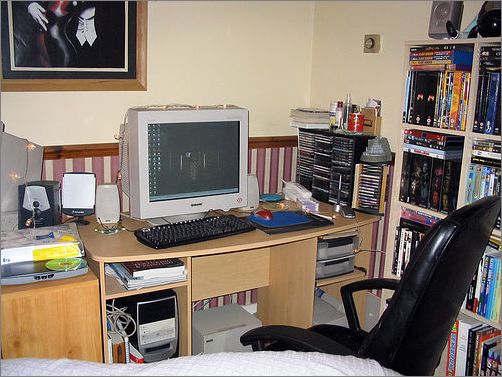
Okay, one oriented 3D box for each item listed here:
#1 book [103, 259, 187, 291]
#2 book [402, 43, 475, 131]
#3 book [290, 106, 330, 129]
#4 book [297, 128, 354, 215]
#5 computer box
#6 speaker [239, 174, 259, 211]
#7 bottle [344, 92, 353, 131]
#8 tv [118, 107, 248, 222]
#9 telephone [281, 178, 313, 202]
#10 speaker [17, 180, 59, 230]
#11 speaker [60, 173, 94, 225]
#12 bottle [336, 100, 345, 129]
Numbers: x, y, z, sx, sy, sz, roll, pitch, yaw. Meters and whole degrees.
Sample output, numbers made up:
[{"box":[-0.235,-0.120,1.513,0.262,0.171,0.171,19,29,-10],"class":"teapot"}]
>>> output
[{"box":[-0.507,0.443,2.128,0.211,0.053,0.215,-3,13,-37],"class":"book"},{"box":[1.031,-0.563,2.270,0.346,0.477,0.165,4,11,28],"class":"book"},{"box":[0.416,-0.544,2.972,0.187,0.094,0.189,-8,18,-37],"class":"book"},{"box":[0.521,-0.109,2.791,0.162,0.482,0.499,-5,12,-25],"class":"book"},{"box":[-0.560,0.806,2.370,0.245,0.405,0.236,-6,10,-33],"class":"computer box"},{"box":[-0.025,0.019,2.709,0.147,0.233,0.129,7,6,43],"class":"speaker"},{"box":[0.691,-0.544,2.900,0.053,0.258,0.253,1,10,13],"class":"bottle"},{"box":[-0.388,-0.209,2.534,0.644,0.613,0.378,-6,21,-20],"class":"tv"},{"box":[0.307,0.002,2.824,0.089,0.103,0.276,-7,19,-27],"class":"telephone"},{"box":[-1.199,0.054,2.273,0.182,0.319,0.172,4,36,-20],"class":"speaker"},{"box":[-1.026,0.053,2.417,0.174,0.302,0.097,1,3,-23],"class":"speaker"},{"box":[0.644,-0.521,2.909,0.058,0.186,0.179,2,10,20],"class":"bottle"}]
